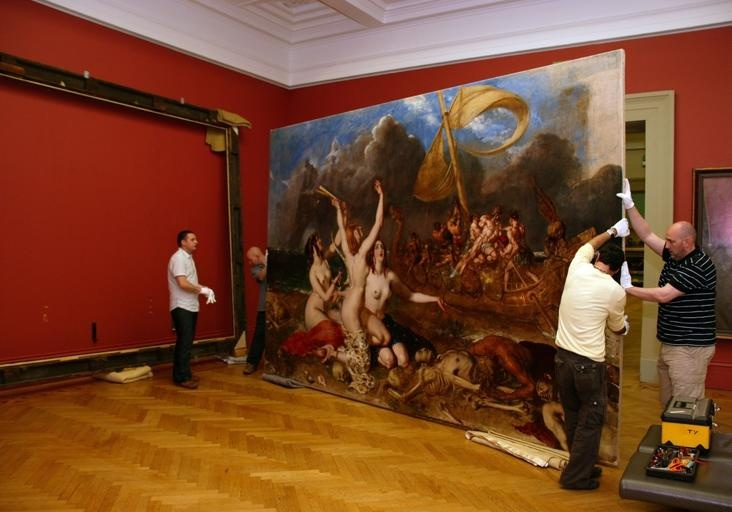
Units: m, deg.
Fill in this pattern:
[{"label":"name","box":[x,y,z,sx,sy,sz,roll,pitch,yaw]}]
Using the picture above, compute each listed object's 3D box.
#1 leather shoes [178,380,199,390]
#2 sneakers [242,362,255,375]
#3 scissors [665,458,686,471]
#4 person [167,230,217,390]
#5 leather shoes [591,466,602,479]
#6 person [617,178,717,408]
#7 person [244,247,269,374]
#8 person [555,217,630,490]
[{"label":"leather shoes","box":[-2.326,1.690,6.961,0.258,0.111,0.098,0,-2,7]},{"label":"sneakers","box":[-1.690,1.633,7.692,0.187,0.126,0.184,-2,8,-14]},{"label":"scissors","box":[2.438,1.629,4.148,0.112,0.028,0.073,-4,15,43]},{"label":"person","box":[-2.369,0.693,7.038,0.558,2.011,0.452,7,10,39]},{"label":"leather shoes","box":[2.087,1.950,4.787,0.090,0.056,0.159,2,7,34]},{"label":"person","box":[2.859,0.405,4.975,0.799,1.757,0.586,3,8,16]},{"label":"person","box":[-1.650,0.780,7.915,0.358,1.821,1.006,-1,8,-13]},{"label":"person","box":[1.996,0.937,4.743,0.511,2.179,0.690,7,10,40]}]
